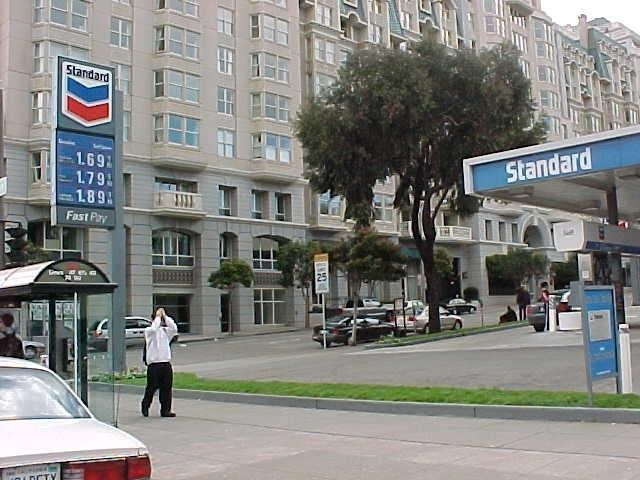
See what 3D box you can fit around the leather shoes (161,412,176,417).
[{"bbox_3d":[-3.374,3.877,16.688,0.315,0.113,0.255,0,-8,-14],"label":"leather shoes"}]
